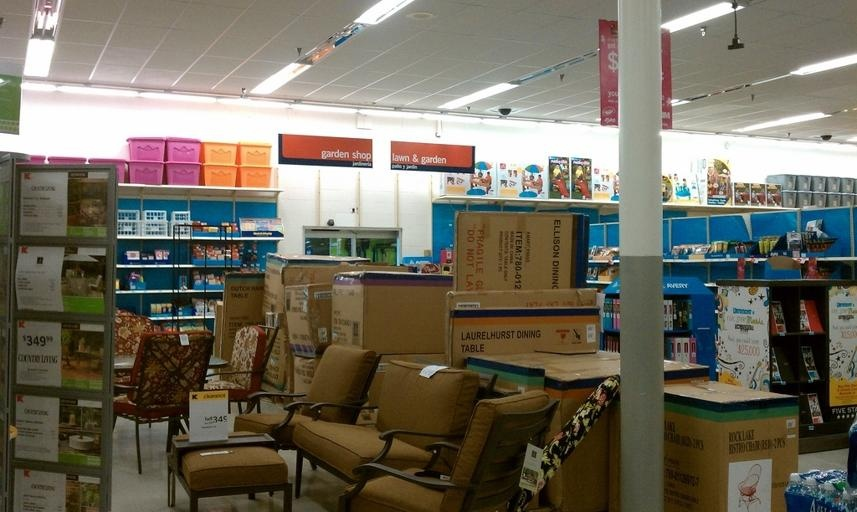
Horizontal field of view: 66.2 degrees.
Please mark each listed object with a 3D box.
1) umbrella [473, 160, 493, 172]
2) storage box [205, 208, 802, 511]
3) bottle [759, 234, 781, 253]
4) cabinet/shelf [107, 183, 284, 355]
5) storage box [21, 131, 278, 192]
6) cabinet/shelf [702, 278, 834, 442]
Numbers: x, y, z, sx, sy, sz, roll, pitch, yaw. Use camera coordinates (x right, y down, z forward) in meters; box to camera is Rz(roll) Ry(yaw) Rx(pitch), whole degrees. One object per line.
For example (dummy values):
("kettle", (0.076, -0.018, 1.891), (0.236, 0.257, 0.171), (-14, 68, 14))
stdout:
("umbrella", (1.268, -2.076, 15.100), (0.286, 0.221, 0.283), (10, 13, 32))
("storage box", (0.875, 1.079, 6.800), (3.650, 2.187, 1.847), (2, -5, -19))
("bottle", (5.707, -0.200, 11.097), (0.271, 0.337, 0.362), (2, 1, -6))
("cabinet/shelf", (-4.115, 0.225, 11.378), (3.268, 2.707, 0.818), (1, -6, -23))
("storage box", (-4.774, -1.837, 12.970), (3.264, 1.013, 0.529), (-1, 0, -19))
("cabinet/shelf", (4.368, 1.260, 8.398), (1.196, 1.824, 1.101), (0, 0, -35))
